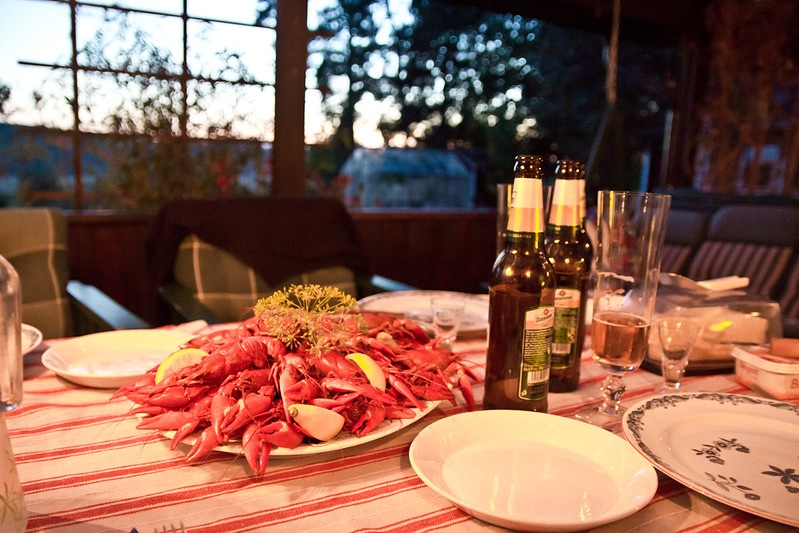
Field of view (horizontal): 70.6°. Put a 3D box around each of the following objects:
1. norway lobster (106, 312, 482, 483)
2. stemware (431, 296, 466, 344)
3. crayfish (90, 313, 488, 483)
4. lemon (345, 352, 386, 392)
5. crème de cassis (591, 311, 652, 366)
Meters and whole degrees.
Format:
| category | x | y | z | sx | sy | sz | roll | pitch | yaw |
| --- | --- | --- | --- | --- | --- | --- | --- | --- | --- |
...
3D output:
| category | x | y | z | sx | sy | sz | roll | pitch | yaw |
| --- | --- | --- | --- | --- | --- | --- | --- | --- | --- |
| norway lobster | -0.319 | 0.178 | 1.373 | 0.611 | 0.284 | 0.828 | 3 | 6 | 41 |
| stemware | 0.115 | 0.139 | 1.488 | 0.113 | 0.160 | 0.109 | 0 | 11 | 0 |
| crayfish | -0.314 | 0.176 | 1.368 | 0.608 | 0.285 | 0.826 | 3 | 6 | 40 |
| lemon | -0.063 | 0.216 | 1.180 | 0.087 | 0.052 | 0.059 | 40 | -17 | 6 |
| crème de cassis | 0.486 | 0.161 | 1.250 | 0.103 | 0.125 | 0.099 | 3 | 7 | -4 |
